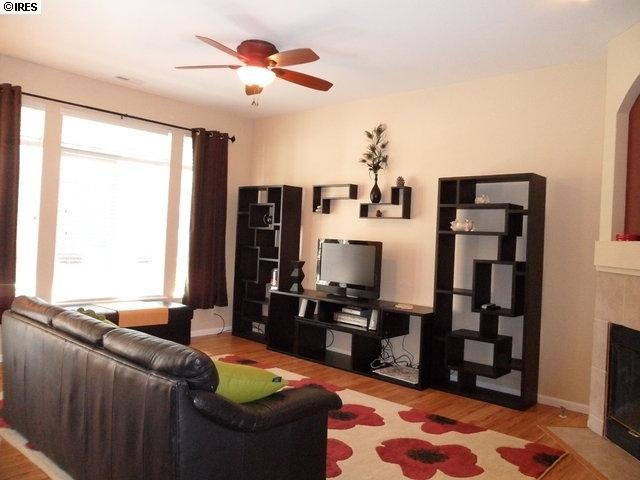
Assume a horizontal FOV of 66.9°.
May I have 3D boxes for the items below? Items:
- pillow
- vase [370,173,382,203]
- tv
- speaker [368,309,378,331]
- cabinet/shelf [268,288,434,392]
[{"bbox_3d":[-0.429,0.802,2.773,0.445,0.239,0.228,-3,7,-40],"label":"pillow"},{"bbox_3d":[0.683,-0.626,5.840,0.146,0.367,0.233,3,6,6],"label":"vase"},{"bbox_3d":[0.357,0.347,5.887,0.139,0.712,1.067,1,1,-42],"label":"tv"},{"bbox_3d":[0.588,0.869,5.333,0.041,0.233,0.124,-2,7,-33],"label":"speaker"},{"bbox_3d":[0.312,1.075,5.774,2.317,0.780,0.510,3,2,43],"label":"cabinet/shelf"}]
